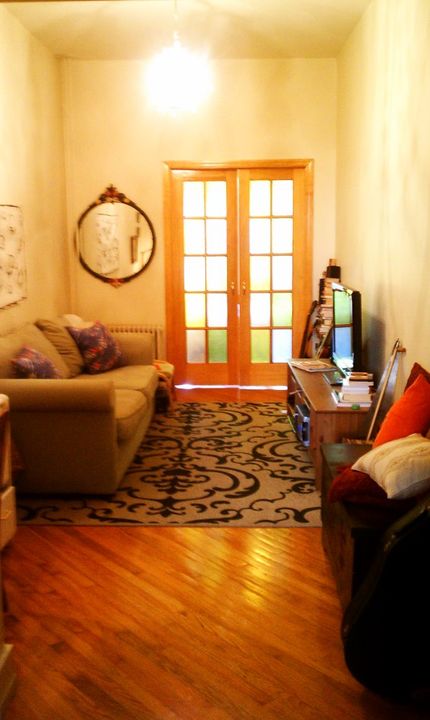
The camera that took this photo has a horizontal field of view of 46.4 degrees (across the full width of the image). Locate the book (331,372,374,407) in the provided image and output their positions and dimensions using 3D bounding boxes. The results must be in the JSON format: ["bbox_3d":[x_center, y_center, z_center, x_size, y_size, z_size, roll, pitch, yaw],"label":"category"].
[{"bbox_3d":[0.917,0.198,3.269,0.180,0.136,0.260,2,8,5],"label":"book"}]

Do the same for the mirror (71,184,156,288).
[{"bbox_3d":[-1.187,-1.431,5.895,0.927,1.371,0.029,-6,50,-14],"label":"mirror"}]

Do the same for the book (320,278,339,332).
[{"bbox_3d":[1.212,-0.590,5.405,0.142,0.557,0.374,0,-2,8],"label":"book"}]
